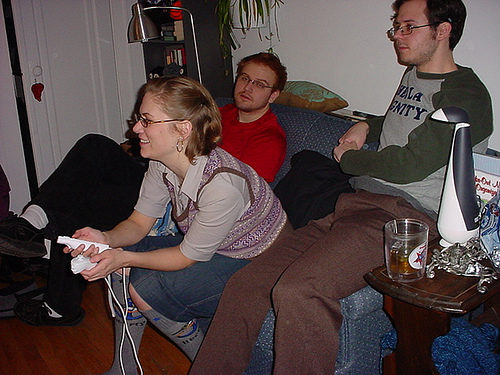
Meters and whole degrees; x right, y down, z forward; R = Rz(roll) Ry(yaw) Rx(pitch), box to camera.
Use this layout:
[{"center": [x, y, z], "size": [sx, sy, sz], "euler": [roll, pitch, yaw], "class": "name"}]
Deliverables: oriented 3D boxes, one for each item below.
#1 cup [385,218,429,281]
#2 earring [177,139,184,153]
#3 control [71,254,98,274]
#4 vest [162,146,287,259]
[{"center": [0.549, 0.233, 1.439], "size": [0.151, 0.210, 0.229], "euler": [0, 5, 15], "class": "cup"}, {"center": [-0.286, -0.174, 1.632], "size": [0.029, 0.046, 0.008], "euler": [-1, 15, -16], "class": "earring"}, {"center": [-0.631, 0.287, 1.499], "size": [0.045, 0.046, 0.109], "euler": [17, 28, 42], "class": "control"}, {"center": [-0.104, 0.057, 1.911], "size": [0.504, 0.502, 0.490], "euler": [-14, 28, -35], "class": "vest"}]
